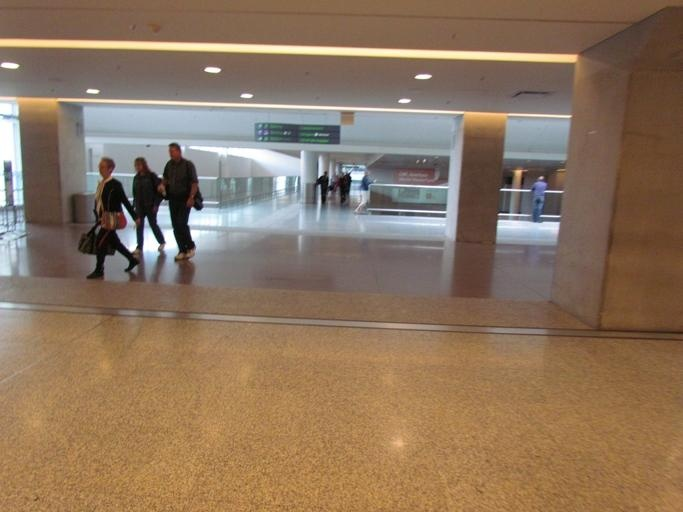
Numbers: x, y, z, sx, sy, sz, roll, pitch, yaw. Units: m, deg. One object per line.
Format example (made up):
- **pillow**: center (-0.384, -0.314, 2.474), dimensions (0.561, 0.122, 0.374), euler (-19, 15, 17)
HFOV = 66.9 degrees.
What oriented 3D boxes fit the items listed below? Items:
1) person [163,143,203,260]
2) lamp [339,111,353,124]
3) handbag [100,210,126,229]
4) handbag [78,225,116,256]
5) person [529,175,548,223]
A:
- **person**: center (-2.660, -0.860, 8.505), dimensions (0.631, 1.908, 0.419), euler (2, 11, 0)
- **lamp**: center (0.139, -3.170, 11.890), dimensions (0.275, 0.294, 0.560), euler (1, 10, -5)
- **handbag**: center (-3.217, -0.555, 7.269), dimensions (0.428, 0.291, 0.216), euler (4, 32, -15)
- **handbag**: center (-3.559, -0.211, 7.542), dimensions (0.583, 0.558, 0.239), euler (6, 23, -11)
- **person**: center (5.822, -1.669, 15.230), dimensions (0.385, 1.228, 1.367), euler (6, 11, 20)
